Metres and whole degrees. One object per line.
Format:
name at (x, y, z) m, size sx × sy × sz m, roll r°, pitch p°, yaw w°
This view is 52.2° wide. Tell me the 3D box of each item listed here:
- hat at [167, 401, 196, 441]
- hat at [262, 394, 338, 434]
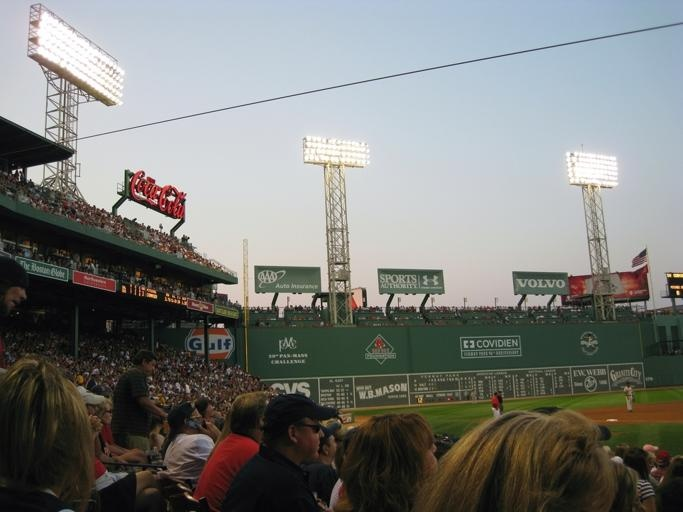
hat at (-1.686, 1.721, 7.295) m, size 0.247 × 0.391 × 0.405 m, roll 4°, pitch -15°, yaw -13°
hat at (-0.317, 1.194, 5.342) m, size 0.616 × 0.303 × 0.403 m, roll -14°, pitch -14°, yaw 5°
